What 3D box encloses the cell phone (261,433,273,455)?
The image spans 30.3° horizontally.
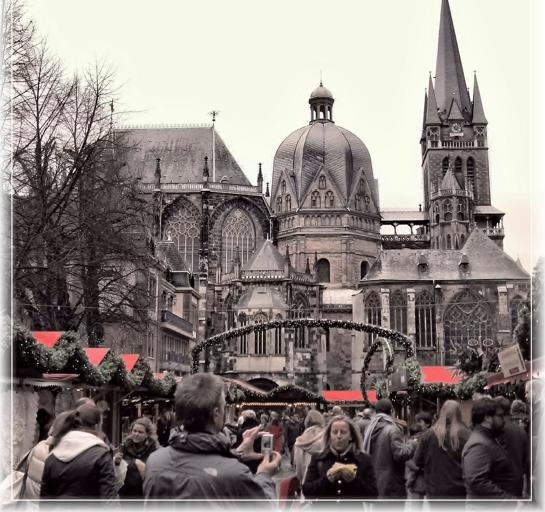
[{"bbox_3d":[-0.048,1.288,6.866,0.095,0.187,0.106,-3,-6,16],"label":"cell phone"}]
